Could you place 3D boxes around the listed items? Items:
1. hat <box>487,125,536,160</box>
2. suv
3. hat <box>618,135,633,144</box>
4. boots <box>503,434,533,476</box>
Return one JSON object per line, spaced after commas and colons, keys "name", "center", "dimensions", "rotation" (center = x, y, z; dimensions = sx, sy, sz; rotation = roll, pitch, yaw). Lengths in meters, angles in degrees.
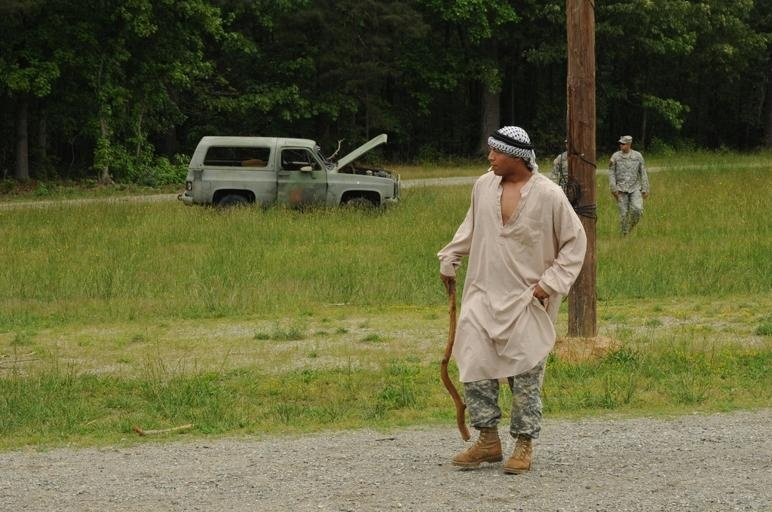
{"name": "hat", "center": [2.639, -2.270, 30.538], "dimensions": [1.114, 0.772, 0.890], "rotation": [1, 6, -26]}
{"name": "suv", "center": [-2.904, -2.445, 44.361], "dimensions": [5.755, 2.563, 2.619], "rotation": [-1, 7, -5]}
{"name": "hat", "center": [6.549, -3.069, 39.460], "dimensions": [0.395, 0.191, 0.516], "rotation": [7, 9, 37]}
{"name": "boots", "center": [2.785, 4.045, 30.168], "dimensions": [0.408, 0.715, 1.138], "rotation": [1, 5, 24]}
